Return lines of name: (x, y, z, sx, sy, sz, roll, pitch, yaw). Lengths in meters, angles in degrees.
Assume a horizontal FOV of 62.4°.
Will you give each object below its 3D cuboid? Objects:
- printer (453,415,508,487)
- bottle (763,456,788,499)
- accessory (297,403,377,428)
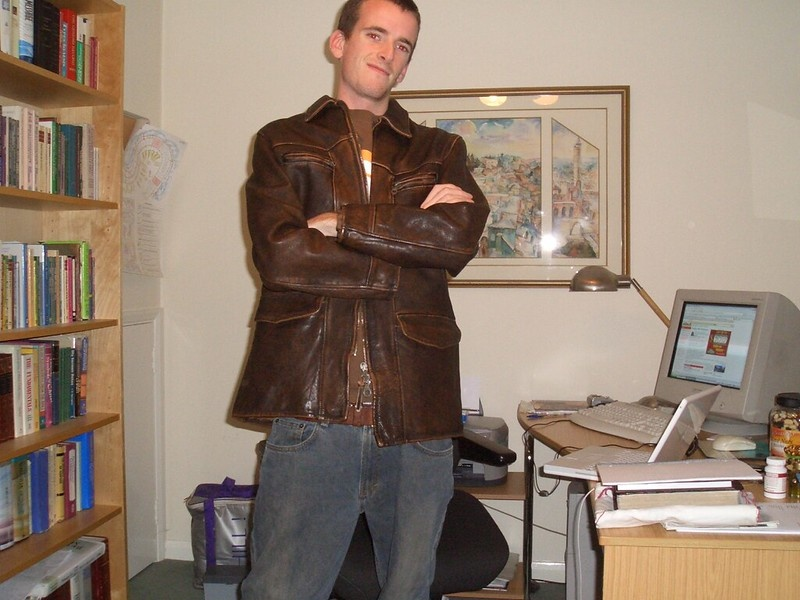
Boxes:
printer: (0.311, 0.659, 2.961, 0.341, 0.290, 0.259, 0, -2, 2)
bottle: (1.118, 0.530, 1.973, 0.073, 0.119, 0.071, 6, -7, 1)
accessory: (-0.163, 0.309, 1.783, 0.183, 0.065, 0.020, 3, 5, -9)
